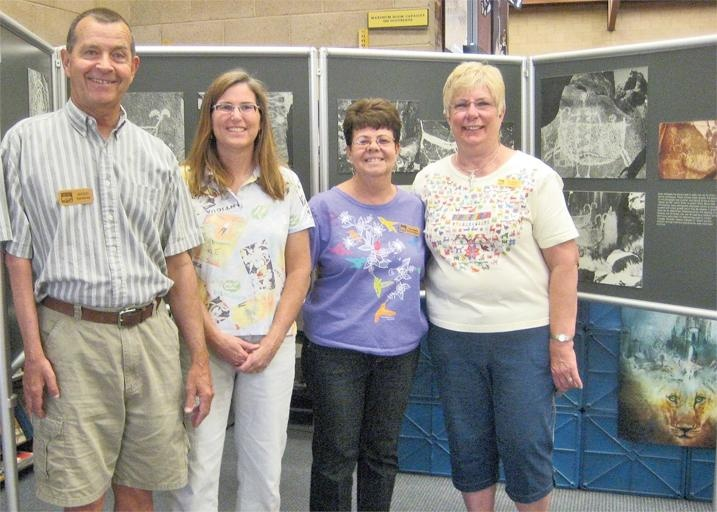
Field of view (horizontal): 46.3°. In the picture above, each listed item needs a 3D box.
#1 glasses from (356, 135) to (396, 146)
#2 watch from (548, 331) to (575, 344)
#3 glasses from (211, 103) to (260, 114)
[{"bbox_3d":[0.071,-0.508,3.677,0.152,0.043,0.043,-4,14,-4],"label":"glasses"},{"bbox_3d":[0.863,0.350,3.592,0.060,0.047,0.062,-5,-8,21],"label":"watch"},{"bbox_3d":[-0.517,-0.628,3.552,0.200,0.044,0.055,-5,14,-8],"label":"glasses"}]
